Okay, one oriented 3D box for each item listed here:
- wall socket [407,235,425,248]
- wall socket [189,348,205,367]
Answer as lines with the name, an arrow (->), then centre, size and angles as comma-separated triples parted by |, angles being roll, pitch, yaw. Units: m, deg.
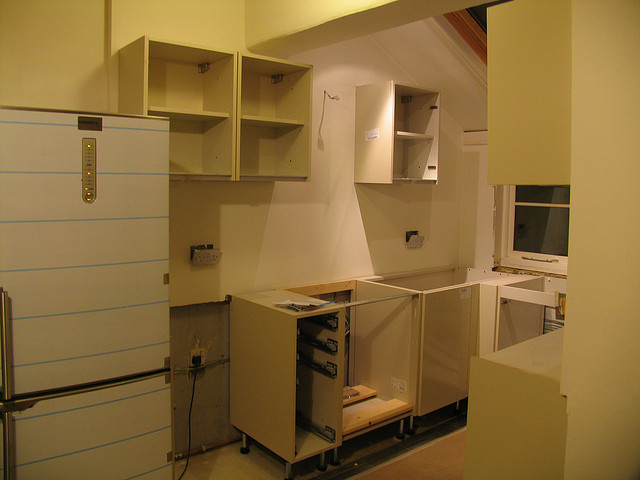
wall socket -> 0.808, 0.008, 4.449 | 0.206, 0.116, 0.046 | -4, 9, -41
wall socket -> -0.775, 0.730, 3.315 | 0.015, 0.121, 0.123 | 5, 4, 38
